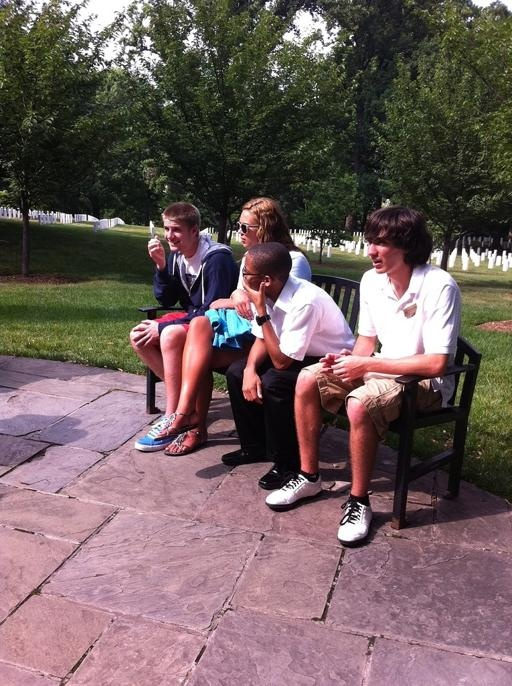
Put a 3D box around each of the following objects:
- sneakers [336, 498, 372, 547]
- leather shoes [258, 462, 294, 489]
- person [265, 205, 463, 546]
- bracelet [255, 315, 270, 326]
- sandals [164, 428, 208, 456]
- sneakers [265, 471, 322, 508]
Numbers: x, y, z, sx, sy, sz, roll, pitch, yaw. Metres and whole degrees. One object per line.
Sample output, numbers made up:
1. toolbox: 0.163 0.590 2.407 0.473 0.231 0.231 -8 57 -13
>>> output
1. sneakers: 0.418 0.781 2.470 0.091 0.090 0.240 -1 8 17
2. leather shoes: 0.106 0.692 2.964 0.232 0.090 0.083 1 4 -35
3. person: 0.553 0.089 2.688 0.774 1.454 0.627 -7 15 -42
4. bracelet: 0.034 -0.120 2.952 0.070 0.046 0.070 -14 2 0
5. sandals: -0.403 0.583 3.427 0.108 0.125 0.321 0 4 39
6. sneakers: 0.195 0.711 2.832 0.335 0.124 0.108 -13 40 -31
